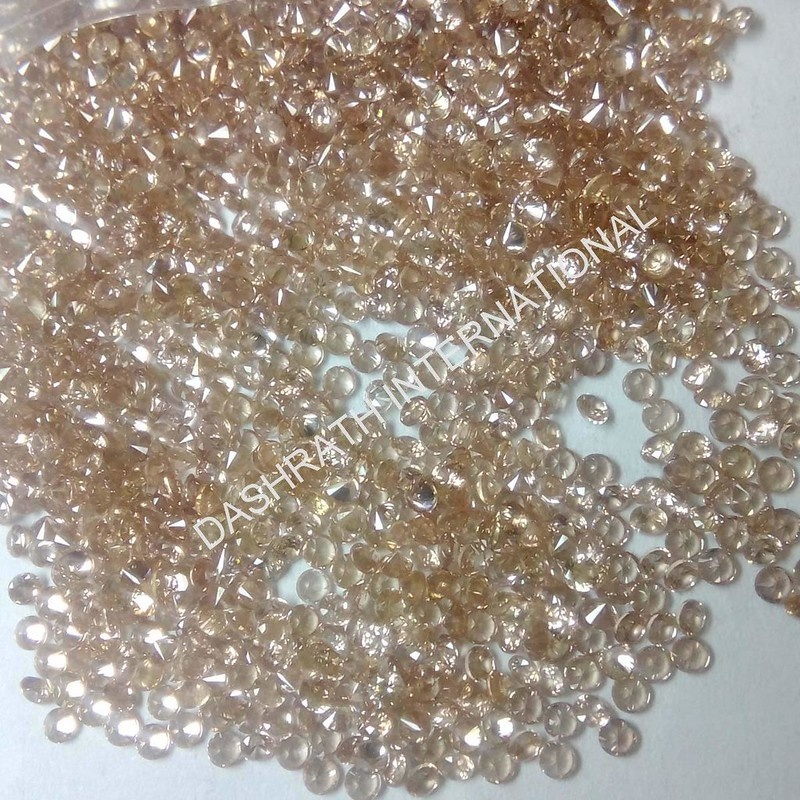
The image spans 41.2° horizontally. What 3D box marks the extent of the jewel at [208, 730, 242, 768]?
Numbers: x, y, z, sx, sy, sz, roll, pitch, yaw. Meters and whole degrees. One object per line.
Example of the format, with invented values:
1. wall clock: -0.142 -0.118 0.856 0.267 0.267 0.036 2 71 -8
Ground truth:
1. jewel: -0.215 0.430 1.307 0.043 0.024 0.040 27 -60 -6

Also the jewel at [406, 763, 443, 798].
1. jewel: 0.029 0.459 1.278 0.043 0.010 0.036 -24 -74 -4

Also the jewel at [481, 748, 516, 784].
1. jewel: 0.118 0.442 1.287 0.041 0.022 0.041 2 -61 8

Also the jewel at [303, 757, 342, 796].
1. jewel: -0.094 0.458 1.295 0.037 0.033 0.049 -21 -66 19

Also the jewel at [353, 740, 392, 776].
1. jewel: -0.031 0.427 1.270 0.043 0.018 0.036 24 -60 -5
